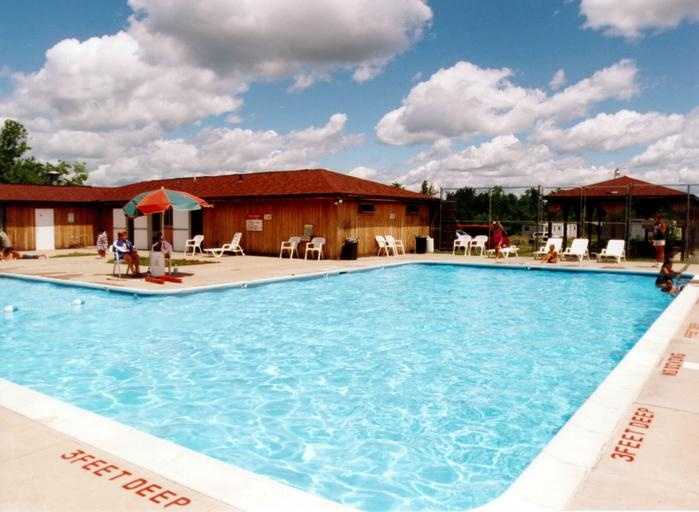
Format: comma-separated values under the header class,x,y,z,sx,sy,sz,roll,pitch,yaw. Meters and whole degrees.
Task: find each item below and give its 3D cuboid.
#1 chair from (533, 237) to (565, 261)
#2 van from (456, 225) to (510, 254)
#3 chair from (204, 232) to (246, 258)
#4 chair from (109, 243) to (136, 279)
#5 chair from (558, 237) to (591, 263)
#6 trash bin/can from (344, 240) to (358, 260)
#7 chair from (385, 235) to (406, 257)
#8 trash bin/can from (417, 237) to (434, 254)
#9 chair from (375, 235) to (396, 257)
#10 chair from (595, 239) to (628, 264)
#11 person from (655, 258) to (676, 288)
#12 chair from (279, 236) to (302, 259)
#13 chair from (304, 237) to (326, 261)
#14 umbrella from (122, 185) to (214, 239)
class,x,y,z,sx,sy,sz,roll,pitch,yaw
chair,8.813,-0.290,21.499,0.860,0.646,1.631,1,6,41
van,8.253,-0.959,29.611,3.091,1.413,1.858,0,4,21
chair,-5.965,-0.570,23.971,1.461,1.094,2.526,-2,9,-13
chair,-7.541,0.159,15.675,0.632,0.871,0.678,19,-28,-38
chair,10.011,-0.268,21.416,0.992,0.993,1.511,2,3,42
trash bin/can,0.110,-0.268,21.524,0.508,0.850,0.435,-2,9,-12
chair,2.323,-0.506,24.576,1.082,1.390,1.039,-2,0,-32
trash bin/can,4.034,-0.565,26.055,0.886,0.853,0.909,0,1,36
chair,1.763,-0.477,24.078,1.079,1.300,0.986,-2,1,-35
chair,11.374,-0.237,20.887,1.050,0.960,2.516,5,10,30
person,8.615,0.458,13.125,0.373,0.888,0.727,6,10,31
chair,-2.762,-0.395,22.535,0.790,1.017,1.255,-8,12,-44
chair,-1.479,-0.293,22.114,1.038,1.366,1.063,1,0,24
umbrella,-6.066,-1.422,16.036,2.439,1.373,2.357,-1,6,10
